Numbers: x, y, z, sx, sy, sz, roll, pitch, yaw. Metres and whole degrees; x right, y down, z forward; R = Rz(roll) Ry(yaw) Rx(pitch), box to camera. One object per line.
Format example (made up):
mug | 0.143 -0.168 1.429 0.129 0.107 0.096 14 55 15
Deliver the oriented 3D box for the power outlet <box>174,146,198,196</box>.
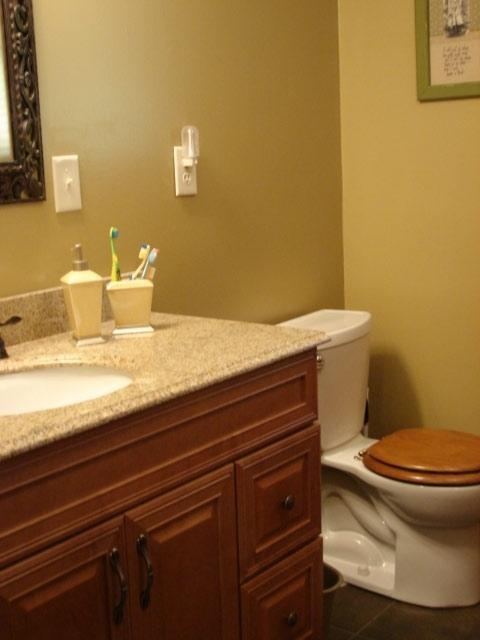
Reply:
power outlet | -0.134 -0.395 1.360 0.064 0.152 0.016 -10 40 -22

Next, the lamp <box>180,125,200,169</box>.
lamp | -0.126 -0.442 1.364 0.057 0.105 0.041 -7 10 -28

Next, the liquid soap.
liquid soap | -0.298 -0.053 1.003 0.066 0.173 0.154 -6 10 -26

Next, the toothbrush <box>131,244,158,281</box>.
toothbrush | -0.194 -0.118 1.087 0.047 0.068 0.105 -4 10 -9
